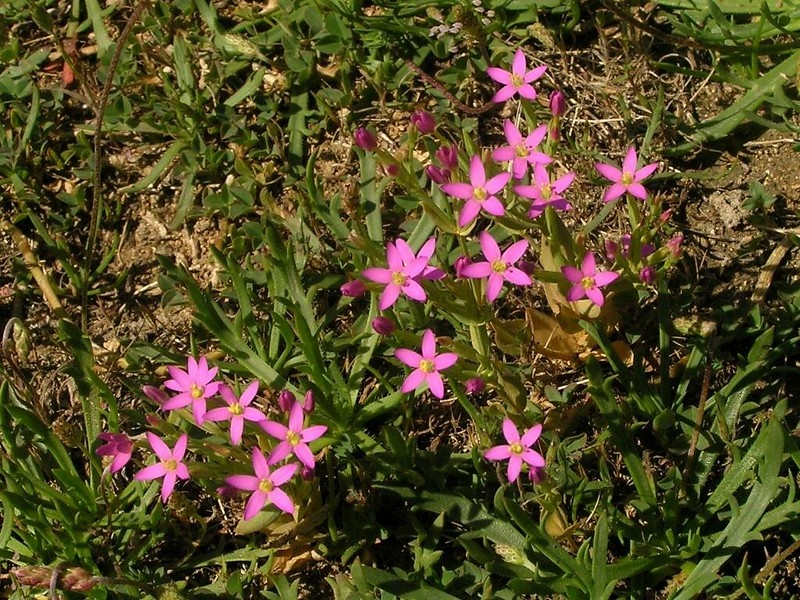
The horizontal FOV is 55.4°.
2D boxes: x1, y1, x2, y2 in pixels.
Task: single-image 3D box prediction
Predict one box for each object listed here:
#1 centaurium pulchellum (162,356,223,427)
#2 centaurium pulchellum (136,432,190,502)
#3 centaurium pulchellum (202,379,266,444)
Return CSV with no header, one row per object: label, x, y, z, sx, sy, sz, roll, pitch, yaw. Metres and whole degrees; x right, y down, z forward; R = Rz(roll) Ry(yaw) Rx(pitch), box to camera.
centaurium pulchellum,-0.722,0.324,2.699,0.185,0.218,0.087,17,107,33
centaurium pulchellum,-0.801,0.580,2.704,0.225,0.061,0.251,-14,69,40
centaurium pulchellum,-0.571,0.380,2.662,0.225,0.229,0.055,-2,102,48
